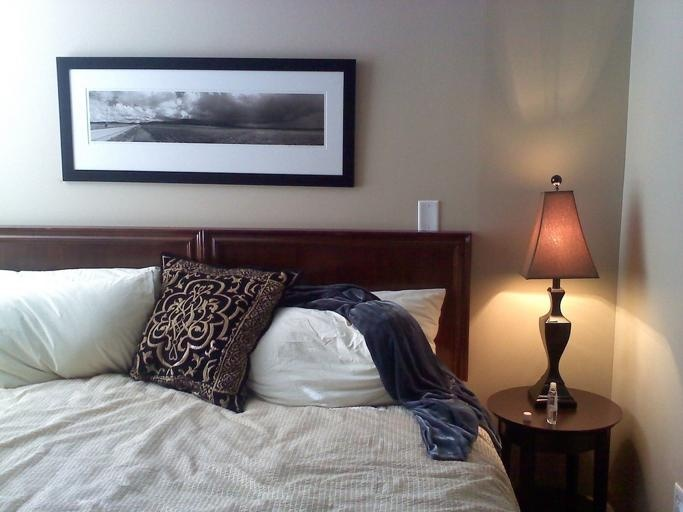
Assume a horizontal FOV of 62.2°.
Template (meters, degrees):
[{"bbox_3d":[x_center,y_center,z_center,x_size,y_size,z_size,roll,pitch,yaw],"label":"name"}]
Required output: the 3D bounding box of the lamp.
[{"bbox_3d":[1.105,0.166,2.904,0.351,1.143,0.437,1,9,9],"label":"lamp"}]
